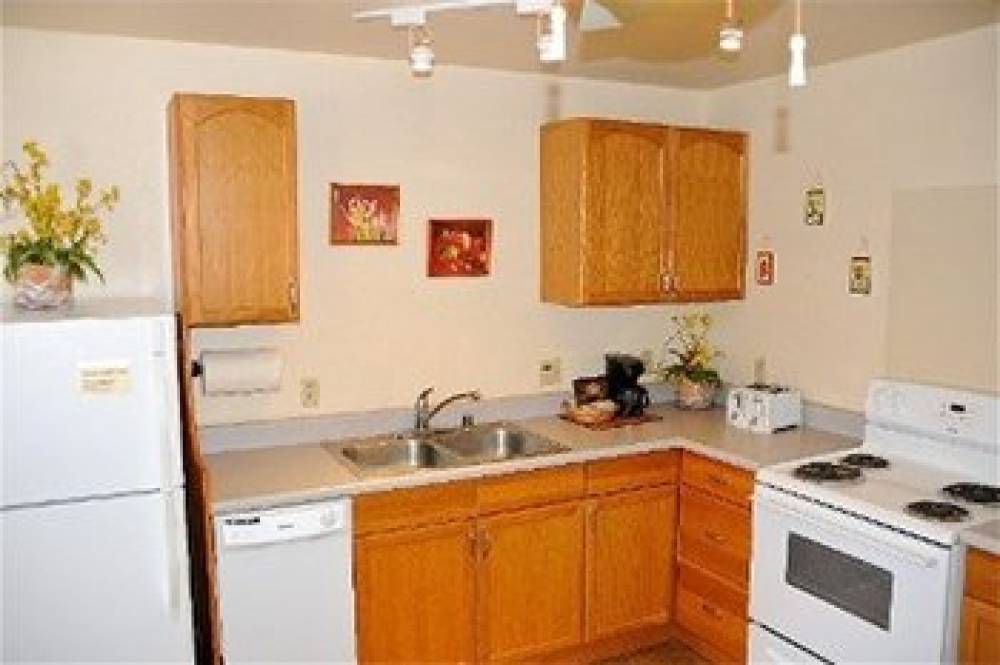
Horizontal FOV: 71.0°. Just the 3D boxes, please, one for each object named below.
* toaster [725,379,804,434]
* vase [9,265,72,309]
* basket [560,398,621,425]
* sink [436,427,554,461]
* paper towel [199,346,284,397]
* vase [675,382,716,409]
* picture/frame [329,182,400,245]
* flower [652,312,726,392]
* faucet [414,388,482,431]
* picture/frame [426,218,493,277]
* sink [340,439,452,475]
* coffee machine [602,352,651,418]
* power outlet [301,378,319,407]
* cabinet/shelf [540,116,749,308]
[{"bbox_3d":[1.464,0.409,3.838,0.411,0.219,0.208,-4,8,-19],"label":"toaster"},{"bbox_3d":[-1.974,-0.195,3.003,0.216,0.152,0.206,-2,5,-22],"label":"vase"},{"bbox_3d":[0.501,0.437,3.948,0.318,0.107,0.186,-1,7,5],"label":"basket"},{"bbox_3d":[-0.066,0.588,3.719,0.329,0.124,0.267,-5,12,-31],"label":"sink"},{"bbox_3d":[-1.233,0.161,3.292,0.346,0.222,0.207,-3,4,-21],"label":"paper towel"},{"bbox_3d":[1.162,0.373,4.138,0.178,0.125,0.174,-1,3,-13],"label":"vase"},{"bbox_3d":[-0.707,-0.610,3.608,0.356,0.298,0.018,2,6,8],"label":"picture/frame"},{"bbox_3d":[1.129,0.187,4.210,0.403,0.548,0.333,-5,27,-13],"label":"flower"},{"bbox_3d":[-0.293,0.399,3.717,0.334,0.223,0.298,-2,7,-7],"label":"faucet"},{"bbox_3d":[-0.244,-0.471,3.802,0.337,0.267,0.023,-2,10,-24],"label":"picture/frame"},{"bbox_3d":[-0.540,0.629,3.568,0.312,0.107,0.254,-2,10,-27],"label":"sink"},{"bbox_3d":[0.740,0.313,4.086,0.184,0.323,0.343,-1,1,-26],"label":"coffee machine"},{"bbox_3d":[-0.984,0.305,3.595,0.093,0.156,0.011,-5,9,-26],"label":"power outlet"},{"bbox_3d":[0.888,-0.638,3.965,1.195,0.981,0.599,-4,9,-27],"label":"cabinet/shelf"}]
